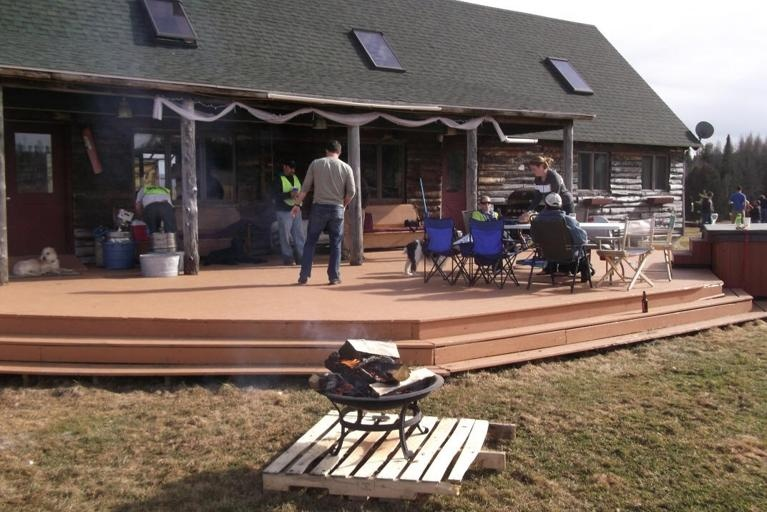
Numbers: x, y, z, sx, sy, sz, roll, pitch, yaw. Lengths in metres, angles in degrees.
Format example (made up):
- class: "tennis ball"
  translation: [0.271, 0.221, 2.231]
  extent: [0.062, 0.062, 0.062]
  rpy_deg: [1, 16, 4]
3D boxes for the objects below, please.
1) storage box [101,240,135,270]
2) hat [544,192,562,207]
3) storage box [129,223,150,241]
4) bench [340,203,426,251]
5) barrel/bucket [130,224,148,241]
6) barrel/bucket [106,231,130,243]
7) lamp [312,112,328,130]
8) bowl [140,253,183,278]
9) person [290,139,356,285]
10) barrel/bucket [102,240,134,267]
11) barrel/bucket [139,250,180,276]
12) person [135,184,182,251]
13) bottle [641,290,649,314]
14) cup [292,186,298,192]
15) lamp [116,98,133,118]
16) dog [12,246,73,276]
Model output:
- class: "storage box"
  translation: [-5.323, -0.030, 12.926]
  extent: [0.584, 0.582, 0.595]
  rpy_deg: [1, 2, -1]
- class: "hat"
  translation: [2.866, -0.939, 10.728]
  extent: [0.241, 0.250, 0.222]
  rpy_deg: [-3, 4, 5]
- class: "storage box"
  translation: [-5.039, -0.511, 13.301]
  extent: [0.467, 0.471, 0.349]
  rpy_deg: [0, 8, -15]
- class: "bench"
  translation: [0.111, -0.738, 15.867]
  extent: [1.948, 1.291, 1.251]
  rpy_deg: [-1, 3, -17]
- class: "barrel/bucket"
  translation: [-5.034, -0.502, 13.266]
  extent: [0.390, 0.403, 0.308]
  rpy_deg: [0, 9, -13]
- class: "barrel/bucket"
  translation: [-5.317, -0.393, 12.754]
  extent: [0.410, 0.209, 0.326]
  rpy_deg: [-5, 4, -25]
- class: "lamp"
  translation: [-1.326, -2.801, 13.205]
  extent: [0.302, 0.316, 0.306]
  rpy_deg: [0, 1, -9]
- class: "bowl"
  translation: [-4.095, 0.168, 11.726]
  extent: [0.514, 0.324, 0.513]
  rpy_deg: [1, -1, 0]
- class: "person"
  translation: [-0.999, -0.726, 10.905]
  extent: [1.033, 2.455, 0.573]
  rpy_deg: [-3, 4, -5]
- class: "barrel/bucket"
  translation: [-5.300, -0.051, 12.880]
  extent: [0.556, 0.563, 0.570]
  rpy_deg: [1, 3, 0]
- class: "barrel/bucket"
  translation: [-4.077, 0.154, 11.638]
  extent: [0.493, 0.308, 0.494]
  rpy_deg: [1, -1, 0]
- class: "person"
  translation: [-4.481, -0.849, 12.546]
  extent: [0.595, 1.116, 0.863]
  rpy_deg: [-5, 5, -33]
- class: "bottle"
  translation: [4.225, 0.742, 10.283]
  extent: [0.113, 0.308, 0.365]
  rpy_deg: [-1, 4, 23]
- class: "cup"
  translation: [-1.746, -1.323, 12.632]
  extent: [0.124, 0.125, 0.089]
  rpy_deg: [2, 8, 7]
- class: "lamp"
  translation: [-5.015, -2.895, 12.299]
  extent: [0.207, 0.432, 0.717]
  rpy_deg: [-5, 4, -23]
- class: "dog"
  translation: [-6.302, 0.154, 11.771]
  extent: [0.908, 0.435, 0.564]
  rpy_deg: [-5, -4, -6]
